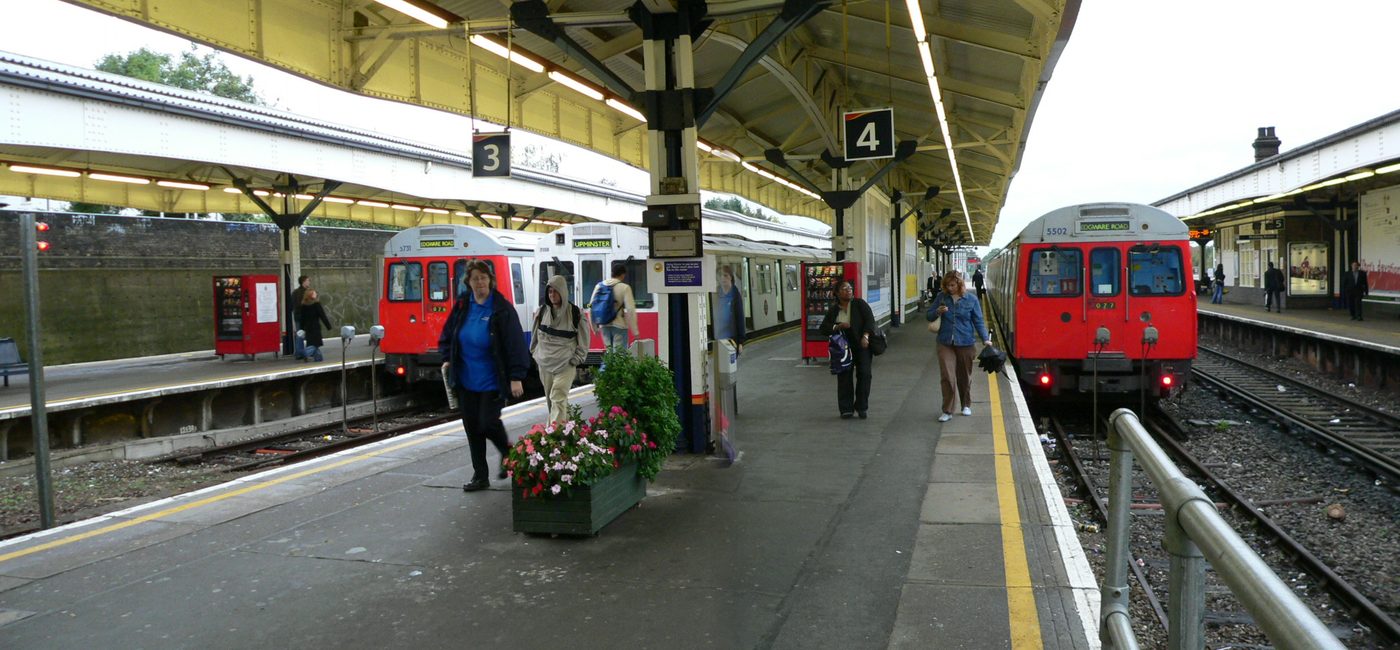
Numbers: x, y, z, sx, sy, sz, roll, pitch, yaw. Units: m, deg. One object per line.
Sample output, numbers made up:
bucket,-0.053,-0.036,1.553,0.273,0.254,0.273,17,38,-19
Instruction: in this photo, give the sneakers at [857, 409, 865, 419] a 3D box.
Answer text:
sneakers,4.288,2.386,23.935,0.215,0.068,0.199,-4,18,-2

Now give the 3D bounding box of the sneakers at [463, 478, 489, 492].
sneakers,-5.099,3.652,20.440,0.604,0.225,0.244,5,-8,-33

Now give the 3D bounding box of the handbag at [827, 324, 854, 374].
handbag,3.723,0.752,23.863,0.572,1.148,0.308,-1,4,7

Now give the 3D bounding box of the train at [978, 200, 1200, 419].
train,11.245,-0.694,25.085,4.490,5.258,1.083,-2,4,-3

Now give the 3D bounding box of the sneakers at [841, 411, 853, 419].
sneakers,3.897,2.407,23.908,0.346,0.132,0.117,-10,7,-34
